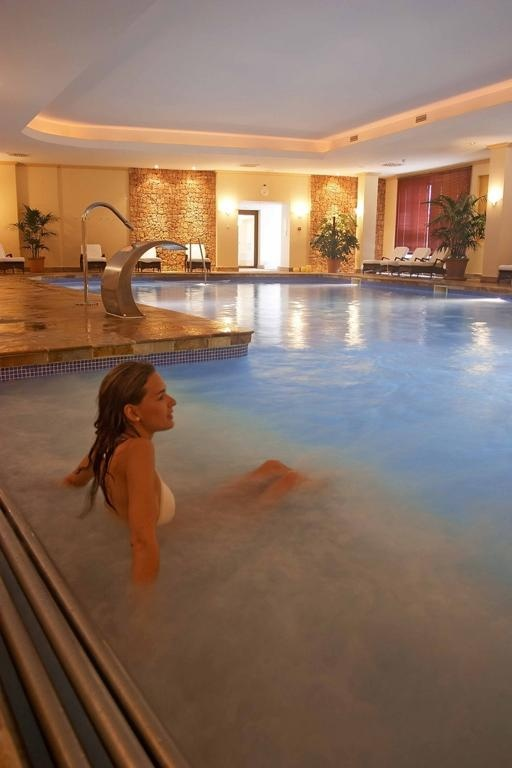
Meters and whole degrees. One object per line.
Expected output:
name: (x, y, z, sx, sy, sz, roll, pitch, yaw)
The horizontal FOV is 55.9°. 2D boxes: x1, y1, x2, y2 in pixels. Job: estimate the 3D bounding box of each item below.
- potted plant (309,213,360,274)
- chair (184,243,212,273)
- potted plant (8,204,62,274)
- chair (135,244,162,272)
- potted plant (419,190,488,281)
potted plant: (2.876, -5.117, 18.185, 1.264, 1.630, 1.430, -5, 4, -33)
chair: (-2.062, -4.512, 17.016, 0.792, 1.026, 1.087, 2, 8, -12)
potted plant: (-7.356, -4.745, 15.886, 1.199, 1.940, 1.310, 7, 19, 26)
chair: (-3.842, -4.542, 17.443, 0.894, 0.927, 1.862, 1, 8, -12)
potted plant: (6.026, -4.351, 14.700, 1.502, 2.276, 1.420, 8, 12, 40)
